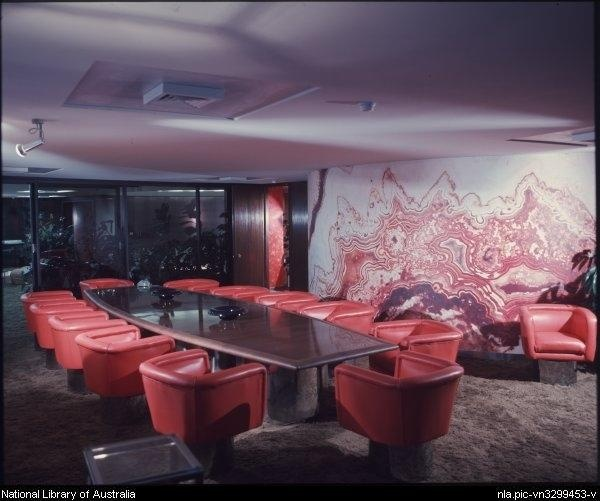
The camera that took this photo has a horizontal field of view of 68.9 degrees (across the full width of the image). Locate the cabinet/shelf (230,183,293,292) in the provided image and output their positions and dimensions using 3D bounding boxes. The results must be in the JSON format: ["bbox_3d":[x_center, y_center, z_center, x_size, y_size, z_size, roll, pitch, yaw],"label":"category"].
[{"bbox_3d":[-1.026,-0.341,11.161,1.549,2.672,0.353,-3,7,-28],"label":"cabinet/shelf"}]

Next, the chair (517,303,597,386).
[{"bbox_3d":[3.183,1.160,5.502,0.808,0.875,0.806,3,6,24],"label":"chair"}]
